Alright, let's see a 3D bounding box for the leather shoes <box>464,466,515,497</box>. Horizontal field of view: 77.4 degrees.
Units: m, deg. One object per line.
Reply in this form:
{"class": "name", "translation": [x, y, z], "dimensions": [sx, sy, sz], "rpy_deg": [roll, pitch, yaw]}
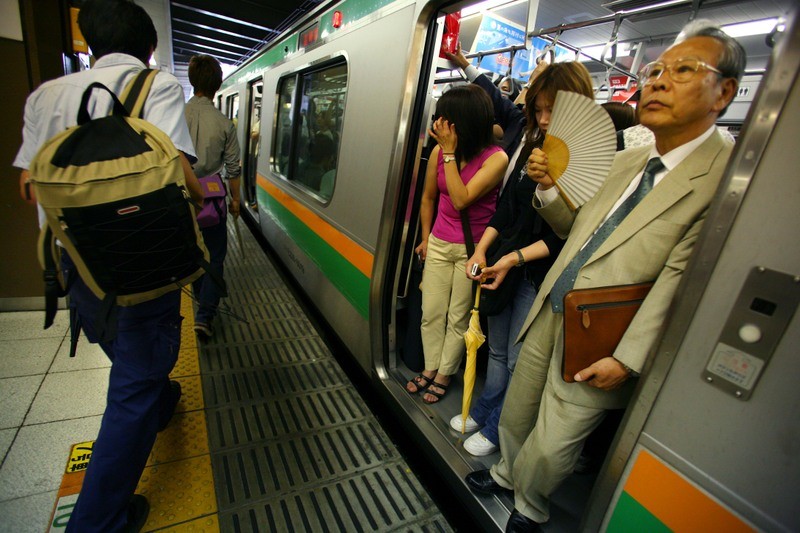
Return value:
{"class": "leather shoes", "translation": [0.489, 1.221, 2.865], "dimensions": [0.296, 0.128, 0.114], "rpy_deg": [10, 30, -3]}

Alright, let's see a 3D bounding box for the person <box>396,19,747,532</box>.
{"class": "person", "translation": [0.970, 0.134, 2.486], "dimensions": [0.930, 2.489, 0.851], "rpy_deg": [7, 22, 9]}

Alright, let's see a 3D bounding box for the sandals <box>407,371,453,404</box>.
{"class": "sandals", "translation": [0.202, 0.839, 3.484], "dimensions": [0.190, 0.073, 0.257], "rpy_deg": [25, 31, 39]}

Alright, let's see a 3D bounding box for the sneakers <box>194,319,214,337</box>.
{"class": "sneakers", "translation": [-1.595, 0.498, 4.047], "dimensions": [0.108, 0.107, 0.142], "rpy_deg": [-2, -4, 3]}

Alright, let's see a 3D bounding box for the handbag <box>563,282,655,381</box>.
{"class": "handbag", "translation": [0.962, 0.289, 2.263], "dimensions": [0.398, 0.406, 0.107], "rpy_deg": [-6, 14, -5]}

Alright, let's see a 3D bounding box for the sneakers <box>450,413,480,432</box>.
{"class": "sneakers", "translation": [0.380, 0.982, 3.203], "dimensions": [0.227, 0.092, 0.127], "rpy_deg": [3, 27, -8]}
